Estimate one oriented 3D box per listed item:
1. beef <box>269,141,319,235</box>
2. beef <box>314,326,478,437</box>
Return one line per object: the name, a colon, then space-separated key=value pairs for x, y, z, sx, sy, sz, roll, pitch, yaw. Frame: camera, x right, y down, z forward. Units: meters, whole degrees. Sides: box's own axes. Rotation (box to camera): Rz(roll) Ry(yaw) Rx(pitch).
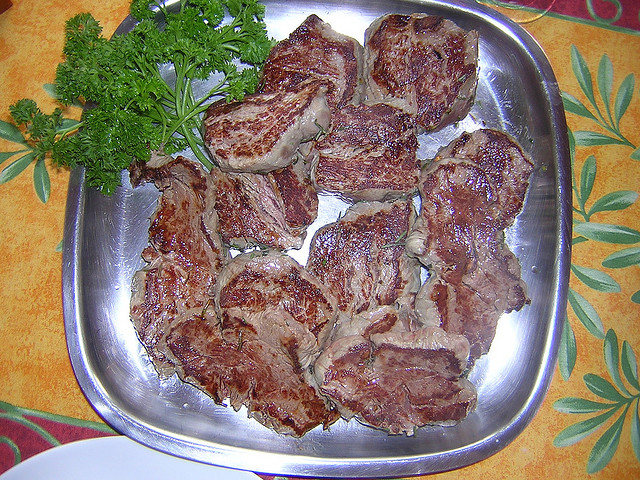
beef: x=-0.170 y=-0.356 z=4.412 sx=0.318 sy=0.127 sz=0.615 roll=-19 pitch=89 yaw=-5
beef: x=0.492 y=0.935 z=4.259 sx=1.019 sy=0.302 sz=0.674 roll=-7 pitch=82 yaw=1
